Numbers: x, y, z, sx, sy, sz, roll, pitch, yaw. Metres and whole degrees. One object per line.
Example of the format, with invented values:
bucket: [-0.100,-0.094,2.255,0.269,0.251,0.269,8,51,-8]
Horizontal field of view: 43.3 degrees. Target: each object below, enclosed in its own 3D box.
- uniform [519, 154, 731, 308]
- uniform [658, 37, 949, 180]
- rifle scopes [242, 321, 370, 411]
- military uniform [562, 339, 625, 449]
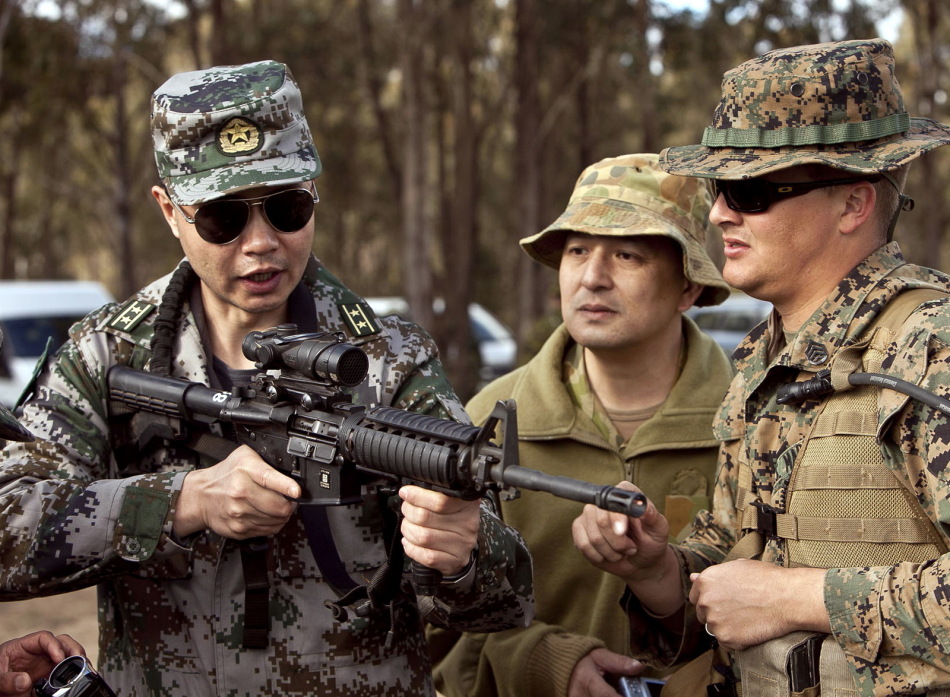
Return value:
uniform: [0.808,-0.664,6.163,0.914,0.657,1.161,8,-2,39]
uniform: [1.331,-0.959,4.891,0.770,0.308,0.747,-7,10,-3]
rifle scopes: [-0.688,0.058,4.673,0.195,0.311,0.638,-2,8,-44]
military uniform: [0.628,0.228,6.178,0.352,0.478,0.175,-31,-12,38]
